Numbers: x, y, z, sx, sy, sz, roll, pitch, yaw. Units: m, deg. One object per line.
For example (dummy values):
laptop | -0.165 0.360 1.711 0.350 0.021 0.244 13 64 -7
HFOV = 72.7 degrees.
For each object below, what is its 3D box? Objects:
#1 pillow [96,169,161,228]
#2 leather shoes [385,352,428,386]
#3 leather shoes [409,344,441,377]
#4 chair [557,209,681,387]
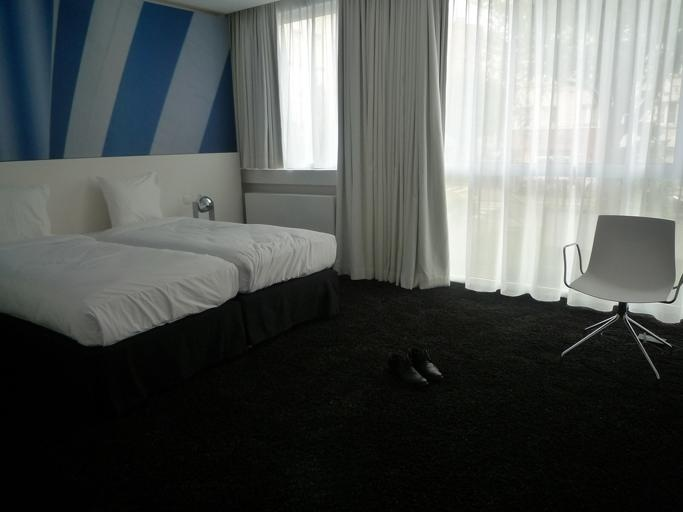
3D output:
pillow | -2.283 -0.638 4.987 0.572 0.601 0.165 -16 1 -44
leather shoes | 0.479 0.814 3.344 0.201 0.176 0.279 -6 14 -27
leather shoes | 0.604 0.777 3.462 0.102 0.134 0.319 -11 14 -32
chair | 2.289 0.279 3.959 1.081 1.618 1.114 6 12 35
